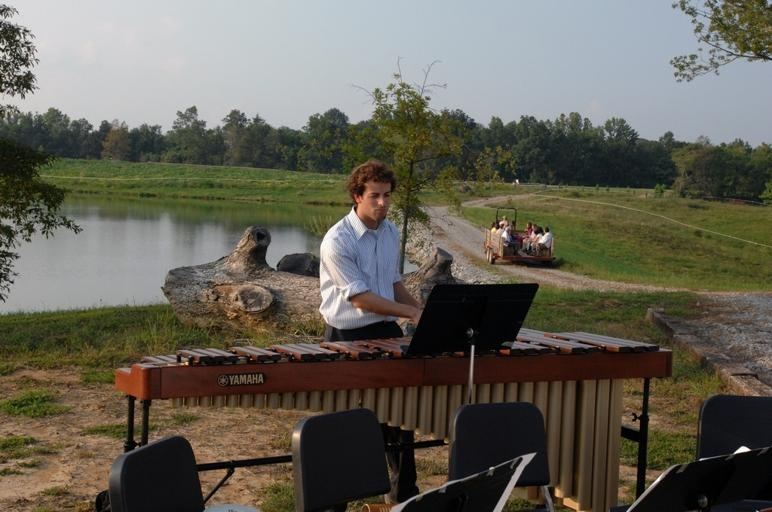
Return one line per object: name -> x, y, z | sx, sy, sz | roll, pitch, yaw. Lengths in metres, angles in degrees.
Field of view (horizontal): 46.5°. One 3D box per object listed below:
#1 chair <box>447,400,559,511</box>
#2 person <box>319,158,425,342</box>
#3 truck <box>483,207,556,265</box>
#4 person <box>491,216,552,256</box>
chair -> 1.288, 2.285, 10.511 | 0.953, 1.329, 1.017 | 1, -12, 0
person -> -0.226, -0.031, 11.016 | 1.129, 2.259, 0.681 | 1, 5, -6
truck -> 4.264, -0.389, 30.217 | 1.945, 1.578, 3.105 | 0, 7, -7
person -> 4.343, -0.473, 29.718 | 1.291, 0.715, 1.950 | -2, 4, -14
